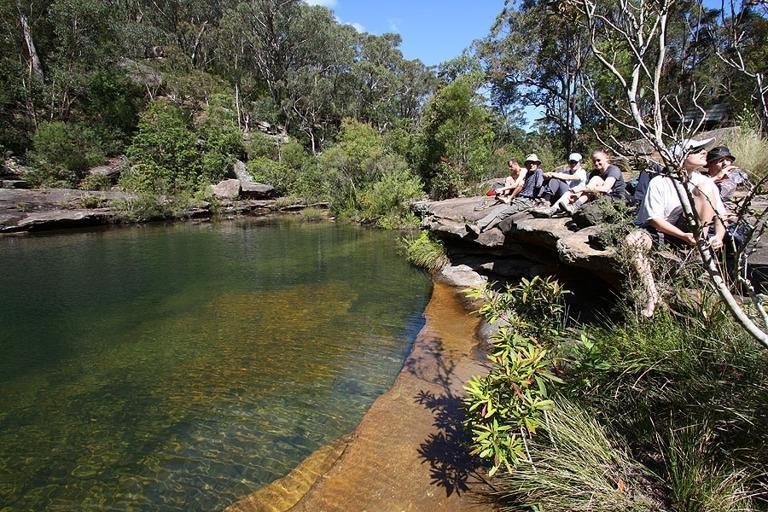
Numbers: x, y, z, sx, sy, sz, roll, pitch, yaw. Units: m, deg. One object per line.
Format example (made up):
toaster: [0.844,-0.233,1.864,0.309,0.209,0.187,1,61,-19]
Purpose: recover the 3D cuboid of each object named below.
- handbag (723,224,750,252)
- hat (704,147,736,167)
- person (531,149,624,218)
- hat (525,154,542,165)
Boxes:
handbag: [5.691,-0.294,7.668,0.149,0.593,0.395,6,-4,-32]
hat: [6.536,-1.893,9.219,0.403,0.224,0.413,-21,13,-32]
person: [4.942,-1.775,11.756,2.166,1.541,1.065,-6,-7,-22]
hat: [4.425,-2.838,14.192,0.546,0.300,0.751,0,8,8]
